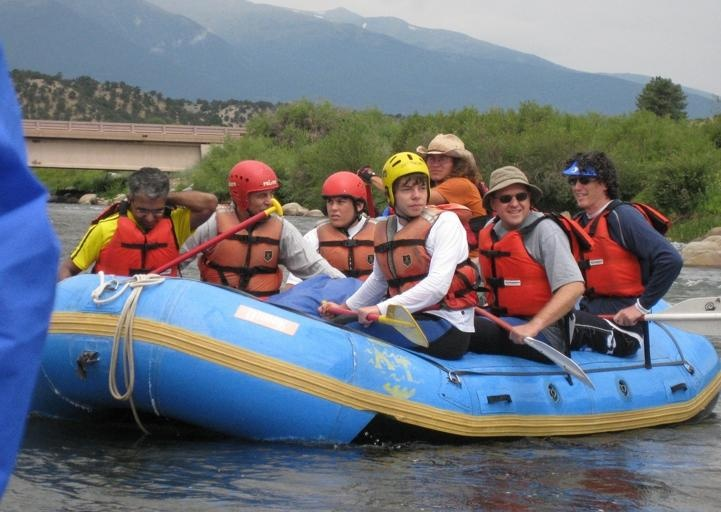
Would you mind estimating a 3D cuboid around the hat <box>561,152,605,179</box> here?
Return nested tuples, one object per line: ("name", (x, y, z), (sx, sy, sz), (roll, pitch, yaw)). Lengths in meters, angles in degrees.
("hat", (2.035, -0.844, 10.876), (0.277, 0.154, 0.309), (5, 14, 41))

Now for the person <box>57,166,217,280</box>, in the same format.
("person", (-1.972, -0.297, 10.586), (1.294, 1.029, 0.527), (6, 15, -9))

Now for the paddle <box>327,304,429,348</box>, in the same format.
("paddle", (0.068, 0.555, 9.738), (0.741, 0.357, 0.132), (7, 33, 35))

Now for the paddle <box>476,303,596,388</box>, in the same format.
("paddle", (1.446, 0.770, 10.176), (1.318, 0.214, 0.058), (31, 25, 16))

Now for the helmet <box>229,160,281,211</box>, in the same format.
("helmet", (-0.953, -0.672, 10.826), (0.527, 0.420, 0.391), (5, 5, 8))

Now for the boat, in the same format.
("boat", (0.024, 0.996, 9.958), (4.223, 0.738, 2.022), (8, -8, -22))

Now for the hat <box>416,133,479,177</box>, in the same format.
("hat", (0.815, -1.122, 12.385), (0.668, 0.238, 0.526), (7, -4, 27))
